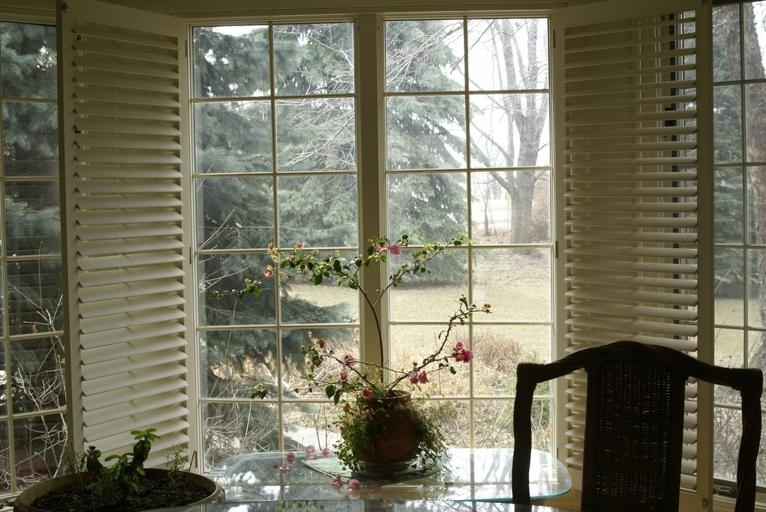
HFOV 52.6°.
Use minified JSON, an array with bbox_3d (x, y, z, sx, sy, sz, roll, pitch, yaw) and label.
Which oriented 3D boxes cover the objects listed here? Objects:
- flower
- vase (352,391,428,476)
[{"bbox_3d":[-0.178,0.439,3.780,1.200,1.110,1.229,3,6,42],"label":"flower"},{"bbox_3d":[0.007,0.785,3.448,0.354,0.315,0.314,1,-7,-15],"label":"vase"}]
